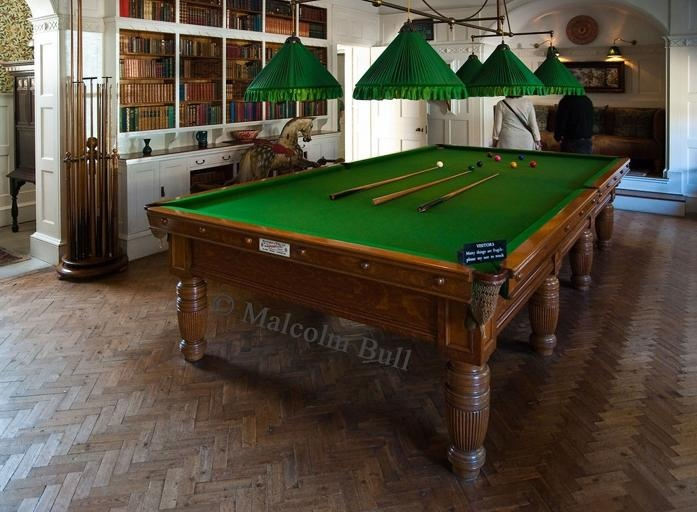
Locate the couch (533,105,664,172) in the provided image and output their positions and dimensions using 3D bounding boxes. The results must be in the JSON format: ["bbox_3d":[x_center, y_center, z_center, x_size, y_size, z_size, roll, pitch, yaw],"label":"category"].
[{"bbox_3d":[4.041,-2.105,9.526,2.562,0.944,0.713,8,27,22],"label":"couch"}]

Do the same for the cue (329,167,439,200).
[{"bbox_3d":[0.300,-0.585,4.463,0.073,0.059,1.503,19,22,22],"label":"cue"}]

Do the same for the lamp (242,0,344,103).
[{"bbox_3d":[-0.304,-1.284,3.662,0.617,0.517,0.554,-1,12,-2],"label":"lamp"}]

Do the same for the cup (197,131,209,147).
[{"bbox_3d":[-1.844,-1.488,6.945,0.163,0.200,0.238,-5,11,-36],"label":"cup"}]

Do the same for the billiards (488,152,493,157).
[{"bbox_3d":[1.544,-1.097,5.911,0.069,0.036,0.076,-2,13,22],"label":"billiards"}]

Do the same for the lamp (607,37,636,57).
[{"bbox_3d":[4.630,-3.573,9.402,0.539,0.332,0.282,-1,5,-19],"label":"lamp"}]

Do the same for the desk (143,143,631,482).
[{"bbox_3d":[0.803,-0.046,4.845,2.513,1.667,3.928,8,17,33],"label":"desk"}]

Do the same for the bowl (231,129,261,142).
[{"bbox_3d":[-1.364,-1.654,7.510,0.287,0.083,0.270,-4,12,1],"label":"bowl"}]
